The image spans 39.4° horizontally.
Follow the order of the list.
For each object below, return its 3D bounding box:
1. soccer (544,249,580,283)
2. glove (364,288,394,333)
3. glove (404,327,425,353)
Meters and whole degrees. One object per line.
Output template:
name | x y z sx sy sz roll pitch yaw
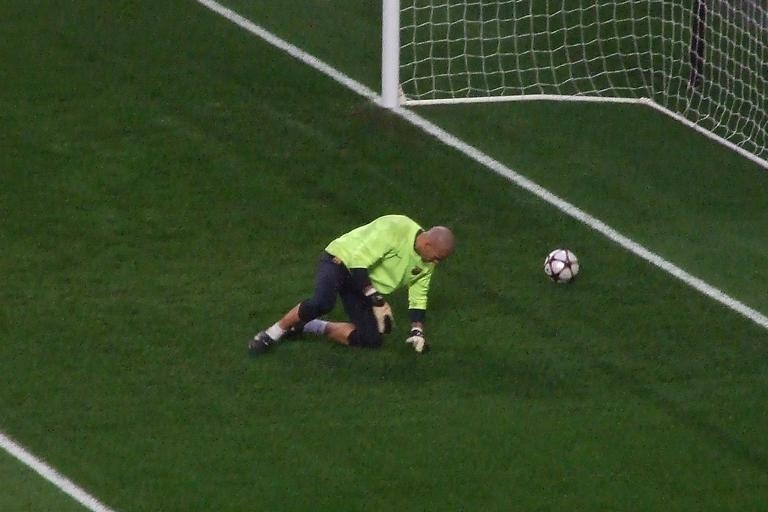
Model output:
soccer | 2.101 0.116 12.927 0.396 0.397 0.389 -4 45 -3
glove | -0.044 0.629 12.229 0.176 0.508 0.319 -27 25 3
glove | 0.380 0.970 12.575 0.136 0.291 0.254 -22 -12 17
